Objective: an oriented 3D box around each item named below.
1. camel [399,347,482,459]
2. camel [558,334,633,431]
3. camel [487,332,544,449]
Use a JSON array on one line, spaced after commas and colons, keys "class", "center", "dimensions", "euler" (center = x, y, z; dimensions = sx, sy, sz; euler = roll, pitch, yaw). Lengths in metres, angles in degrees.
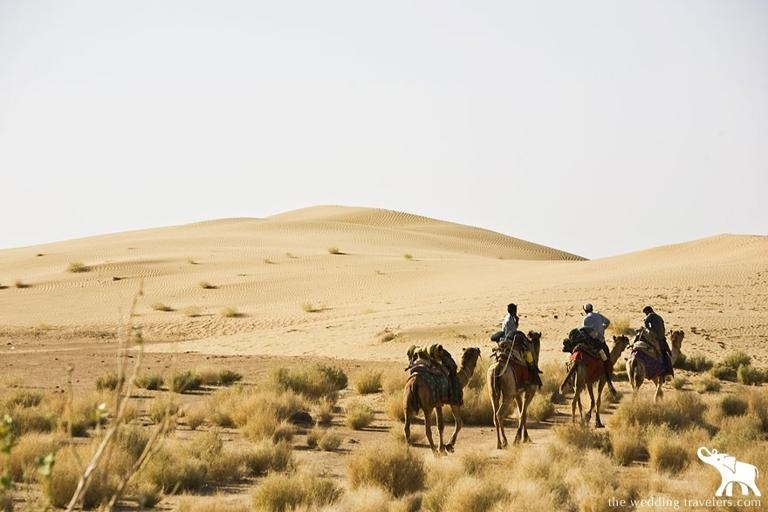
[{"class": "camel", "center": [1.919, 4.352, 25.464], "dimensions": [1.160, 3.333, 3.886], "euler": [-9, -11, 38]}, {"class": "camel", "center": [7.119, 4.063, 30.476], "dimensions": [1.425, 3.842, 5.064], "euler": [2, 5, 35]}, {"class": "camel", "center": [4.166, 4.149, 26.172], "dimensions": [1.810, 3.885, 1.107], "euler": [11, -22, -29]}]
